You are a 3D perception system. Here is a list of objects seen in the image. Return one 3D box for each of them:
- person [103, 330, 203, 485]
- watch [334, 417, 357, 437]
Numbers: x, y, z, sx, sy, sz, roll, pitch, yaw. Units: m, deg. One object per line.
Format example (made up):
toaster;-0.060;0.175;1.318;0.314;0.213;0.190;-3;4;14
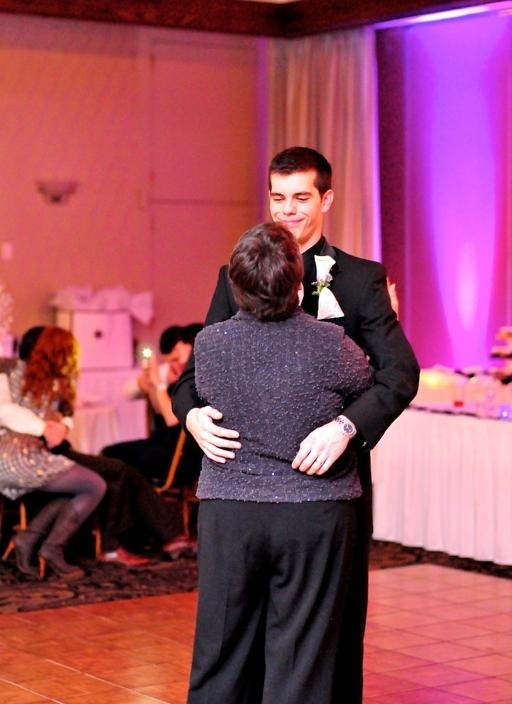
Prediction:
person;-0.699;0.400;4.671;0.729;0.428;1.181;7;46;-5
watch;0.138;0.118;1.122;0.024;0.021;0.023;26;-34;0
